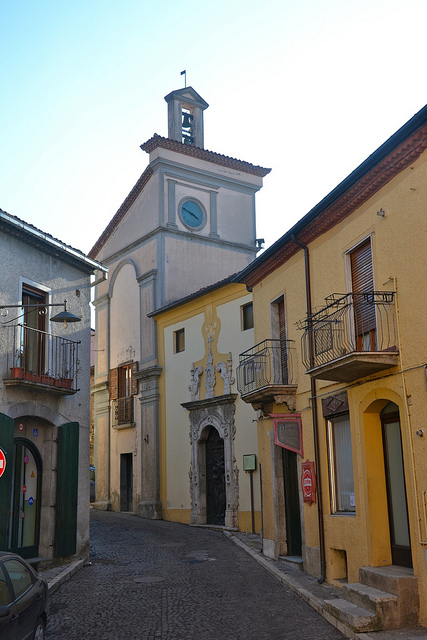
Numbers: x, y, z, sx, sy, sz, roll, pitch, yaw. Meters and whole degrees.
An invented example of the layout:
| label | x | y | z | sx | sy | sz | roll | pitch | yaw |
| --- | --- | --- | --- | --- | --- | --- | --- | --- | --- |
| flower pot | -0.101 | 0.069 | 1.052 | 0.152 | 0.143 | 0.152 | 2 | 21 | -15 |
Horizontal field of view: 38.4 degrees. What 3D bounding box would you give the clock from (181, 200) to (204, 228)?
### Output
| label | x | y | z | sx | sy | sz | roll | pitch | yaw |
| --- | --- | --- | --- | --- | --- | --- | --- | --- | --- |
| clock | -0.985 | -4.630 | 26.620 | 0.107 | 1.056 | 0.969 | -21 | 8 | 36 |
